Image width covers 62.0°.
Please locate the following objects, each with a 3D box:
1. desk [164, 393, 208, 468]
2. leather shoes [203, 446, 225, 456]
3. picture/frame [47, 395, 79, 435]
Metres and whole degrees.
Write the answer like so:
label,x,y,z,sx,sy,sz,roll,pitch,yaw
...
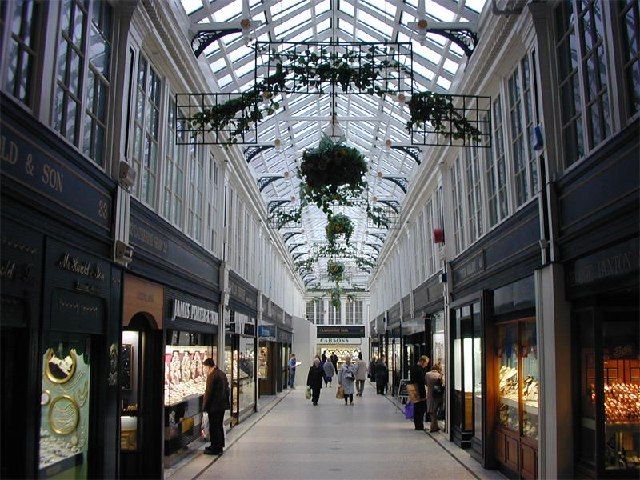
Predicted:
label,x,y,z,sx,sy,sz,roll,pitch,yaw
desk,-2.600,3.521,10.190,0.236,0.884,2.072,-1,-7,5
leather shoes,-2.057,4.077,10.267,0.341,0.192,0.155,0,-2,10
picture/frame,-2.846,1.958,5.944,0.329,0.438,0.047,2,3,-2
